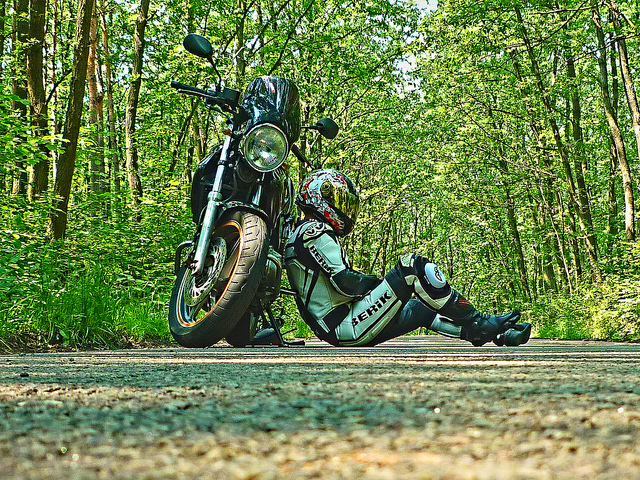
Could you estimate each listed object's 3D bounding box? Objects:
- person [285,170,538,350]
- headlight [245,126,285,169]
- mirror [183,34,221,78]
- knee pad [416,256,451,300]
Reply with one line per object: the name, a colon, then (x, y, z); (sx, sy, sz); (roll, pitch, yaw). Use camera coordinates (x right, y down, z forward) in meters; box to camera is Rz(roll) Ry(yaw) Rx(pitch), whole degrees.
person: (0.868, 0.290, 6.807); (2.414, 1.487, 0.997); (4, -6, -4)
headlight: (-0.440, -0.726, 5.707); (0.334, 0.317, 0.106); (8, 3, -4)
mirror: (-0.985, -1.525, 5.978); (0.297, 0.350, 0.195); (1, -5, -12)
knee pad: (0.979, 0.332, 6.197); (0.212, 0.413, 0.176); (0, -1, 2)
